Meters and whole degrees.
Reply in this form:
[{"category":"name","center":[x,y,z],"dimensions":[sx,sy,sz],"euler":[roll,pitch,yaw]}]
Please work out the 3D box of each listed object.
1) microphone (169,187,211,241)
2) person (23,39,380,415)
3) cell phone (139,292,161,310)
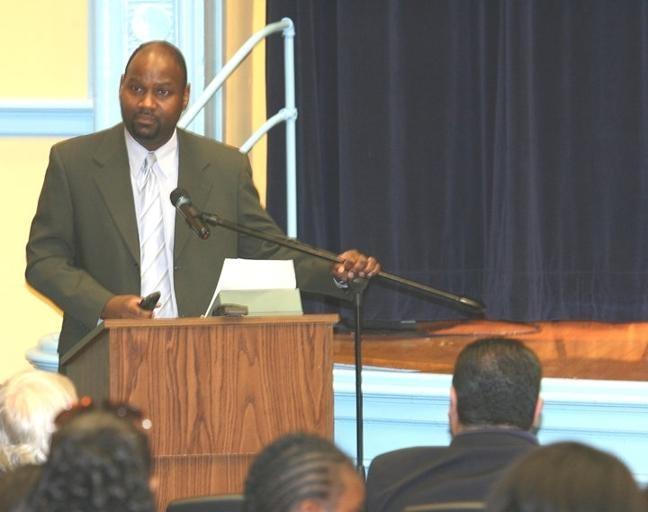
[{"category":"microphone","center":[-0.395,-0.120,3.548],"dimensions":[0.191,0.074,0.072],"euler":[47,-5,29]},{"category":"person","center":[-0.414,0.176,3.907],"dimensions":[1.138,1.508,0.765],"euler":[7,17,-6]},{"category":"cell phone","center":[-0.493,0.131,3.355],"dimensions":[0.027,0.030,0.114],"euler":[34,-40,-7]}]
